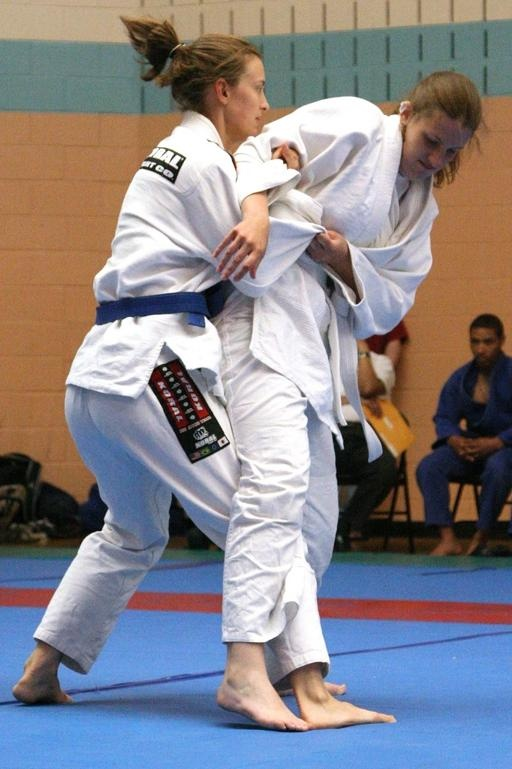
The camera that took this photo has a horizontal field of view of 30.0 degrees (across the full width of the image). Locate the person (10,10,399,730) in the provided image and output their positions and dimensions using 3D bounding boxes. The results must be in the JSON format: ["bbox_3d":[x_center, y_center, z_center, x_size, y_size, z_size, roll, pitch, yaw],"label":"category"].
[{"bbox_3d":[-0.092,-0.039,1.939,0.905,1.404,0.520,-4,-4,15],"label":"person"}]
